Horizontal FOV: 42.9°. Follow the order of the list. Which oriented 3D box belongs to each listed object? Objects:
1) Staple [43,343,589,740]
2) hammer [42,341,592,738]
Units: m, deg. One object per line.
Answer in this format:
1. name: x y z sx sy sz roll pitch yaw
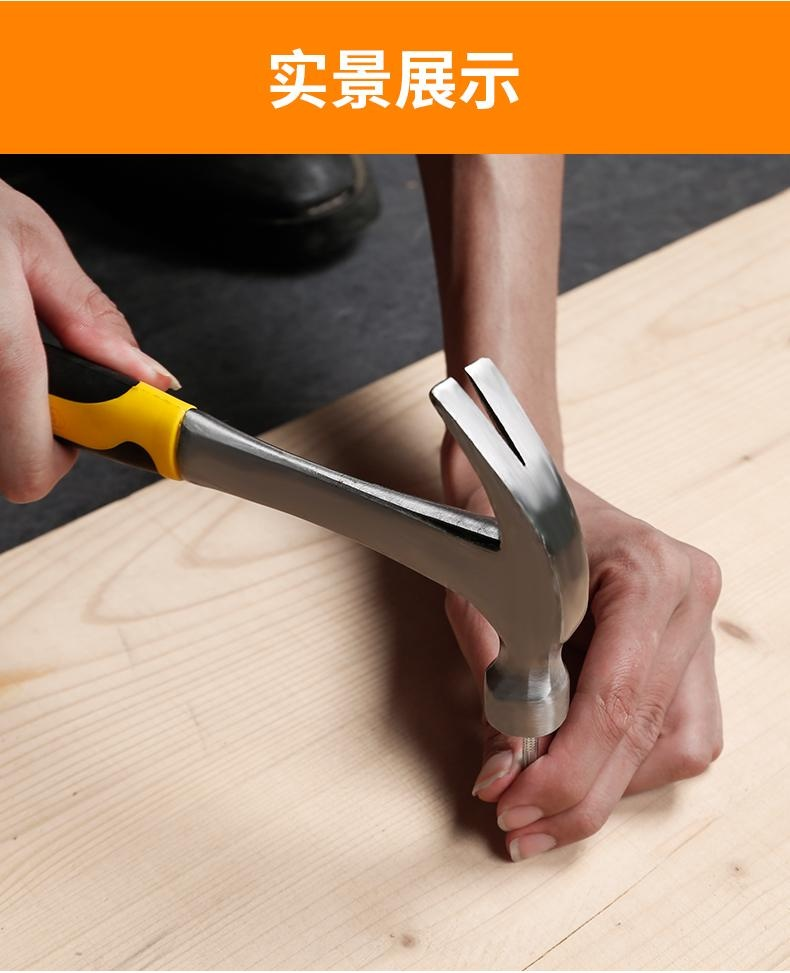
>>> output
1. Staple: -0.085 -0.020 0.650 0.495 0.193 0.065 23 39 32
2. hammer: -0.086 -0.022 0.654 0.501 0.195 0.062 24 39 32
